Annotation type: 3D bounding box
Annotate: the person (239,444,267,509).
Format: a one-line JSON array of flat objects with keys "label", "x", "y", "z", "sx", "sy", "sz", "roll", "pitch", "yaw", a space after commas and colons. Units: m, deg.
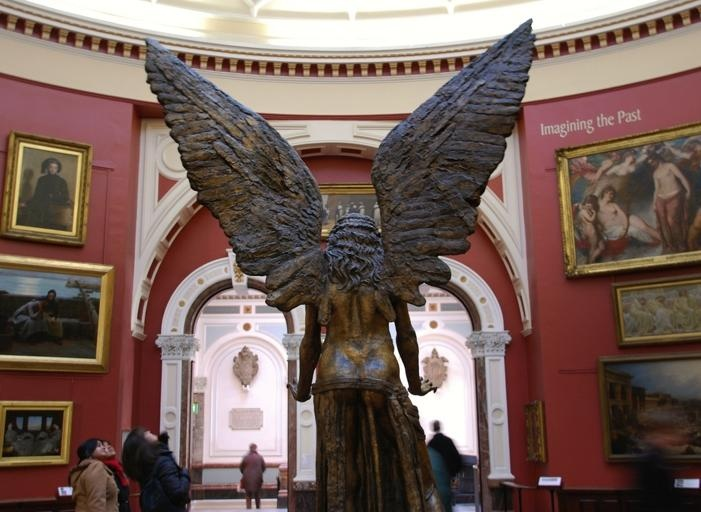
[{"label": "person", "x": -2.140, "y": 4.718, "z": 13.954, "sx": 0.479, "sy": 1.306, "sz": 1.284, "roll": 1, "pitch": -16, "yaw": -10}]
